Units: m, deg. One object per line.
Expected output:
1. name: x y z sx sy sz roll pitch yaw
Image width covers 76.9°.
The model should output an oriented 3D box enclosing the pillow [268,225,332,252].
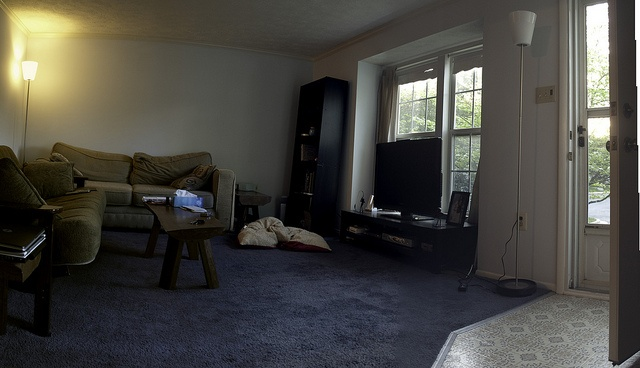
1. pillow: -0.220 0.742 5.743 0.769 0.132 0.810 1 12 -29

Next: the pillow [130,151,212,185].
1. pillow: -2.496 -0.255 6.496 0.808 0.269 0.749 9 40 -3

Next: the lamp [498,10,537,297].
1. lamp: 2.148 -0.648 4.340 0.464 2.416 0.425 7 -15 1

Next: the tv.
1. tv: 1.185 -0.073 5.427 0.295 1.039 1.284 1 1 -30

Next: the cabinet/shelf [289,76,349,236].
1. cabinet/shelf: -0.011 -0.404 6.814 0.443 2.667 0.673 -4 17 -31

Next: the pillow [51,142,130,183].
1. pillow: -3.570 -0.206 6.358 0.889 0.293 0.860 9 2 -23

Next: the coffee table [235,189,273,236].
1. coffee table: -1.136 0.508 6.553 0.557 0.630 0.739 2 -2 -9

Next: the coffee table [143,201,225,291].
1. coffee table: -1.529 0.692 4.470 0.610 0.514 1.595 -1 1 -27
